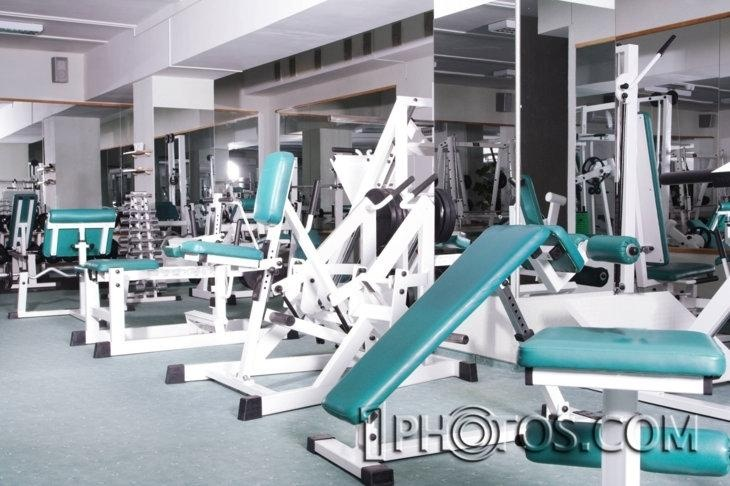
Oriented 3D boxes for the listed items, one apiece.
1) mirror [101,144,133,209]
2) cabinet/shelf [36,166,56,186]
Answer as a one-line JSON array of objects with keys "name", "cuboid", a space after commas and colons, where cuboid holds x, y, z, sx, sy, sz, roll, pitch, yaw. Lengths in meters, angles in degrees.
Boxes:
[{"name": "mirror", "cuboid": [-4.186, -1.172, 9.730, 0.501, 1.264, 1.496, 0, 0, -33]}, {"name": "cabinet/shelf", "cuboid": [-5.520, -1.155, 10.014, 0.466, 0.382, 0.157, -4, -6, 7]}]
